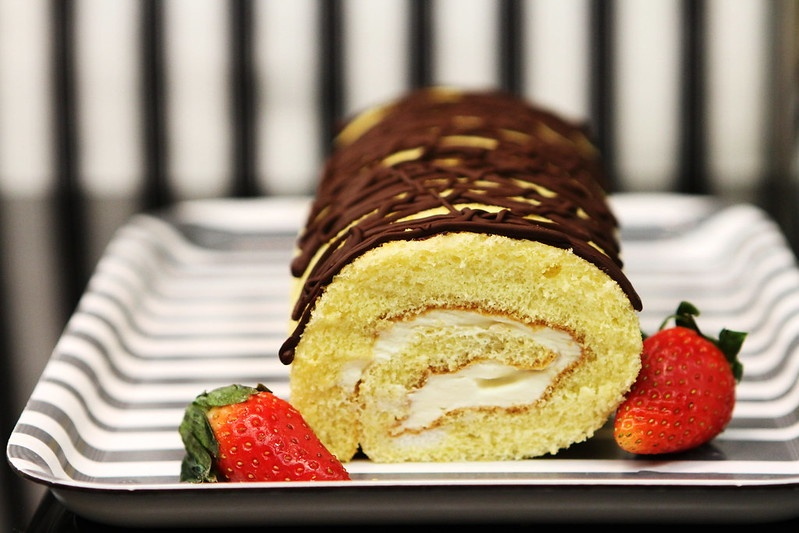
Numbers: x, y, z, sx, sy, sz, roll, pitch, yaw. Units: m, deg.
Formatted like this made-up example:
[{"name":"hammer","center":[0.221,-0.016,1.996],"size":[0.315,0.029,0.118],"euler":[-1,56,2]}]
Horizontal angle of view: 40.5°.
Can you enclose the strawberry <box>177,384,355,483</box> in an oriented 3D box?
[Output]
[{"name":"strawberry","center":[-0.272,0.352,2.194],"size":[0.284,0.151,0.200],"euler":[28,43,12]}]
